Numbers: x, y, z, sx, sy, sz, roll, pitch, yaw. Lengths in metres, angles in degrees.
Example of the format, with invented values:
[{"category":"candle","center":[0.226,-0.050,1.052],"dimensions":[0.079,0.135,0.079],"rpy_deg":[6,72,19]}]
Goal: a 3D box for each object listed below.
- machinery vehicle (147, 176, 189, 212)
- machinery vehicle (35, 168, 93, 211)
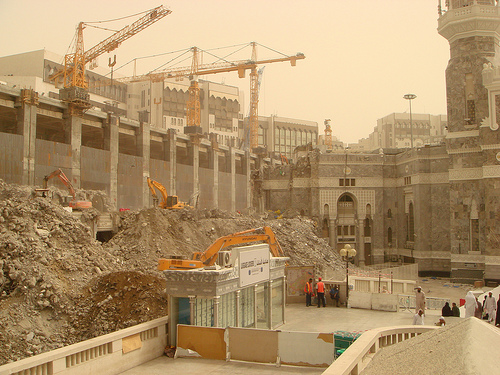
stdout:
[{"category":"machinery vehicle","center":[-7.772,0.846,64.327],"dimensions":[4.286,3.195,1.352],"rpy_deg":[6,-3,-43]},{"category":"machinery vehicle","center":[-15.687,0.441,57.855],"dimensions":[2.439,3.923,3.698],"rpy_deg":[-2,0,39]}]
